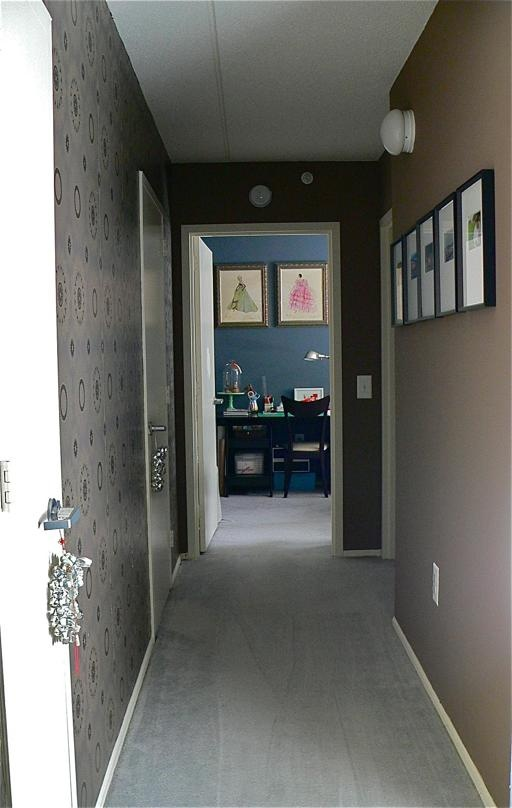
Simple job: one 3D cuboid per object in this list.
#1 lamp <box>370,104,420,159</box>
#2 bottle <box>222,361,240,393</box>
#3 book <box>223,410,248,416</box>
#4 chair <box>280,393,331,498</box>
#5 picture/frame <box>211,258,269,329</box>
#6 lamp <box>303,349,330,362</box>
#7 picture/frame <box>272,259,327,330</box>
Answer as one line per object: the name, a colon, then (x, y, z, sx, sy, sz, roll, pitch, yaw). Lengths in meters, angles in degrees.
lamp: (0.527, -1.003, 2.006, 0.091, 0.175, 0.195, -1, 1, 1)
bottle: (-0.248, -0.269, 5.597, 0.186, 0.340, 0.175, -1, 1, 0)
book: (-0.194, 0.100, 5.313, 0.249, 0.065, 0.141, -2, 1, 0)
chair: (0.492, 0.420, 5.250, 0.443, 0.966, 0.964, -1, 1, 6)
picture/frame: (-0.150, -1.120, 5.599, 0.556, 1.021, 0.092, -1, -38, -3)
lamp: (0.624, -0.479, 5.536, 0.266, 0.175, 0.114, 3, 0, -8)
picture/frame: (0.487, -1.139, 5.602, 0.534, 0.076, 0.910, 1, -34, 6)
